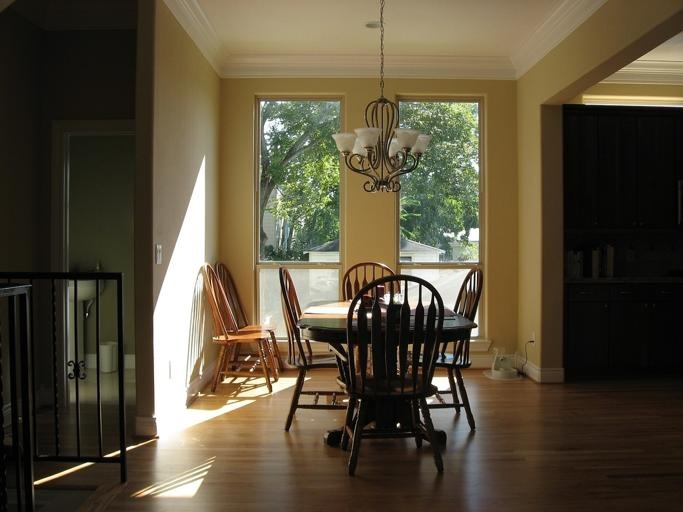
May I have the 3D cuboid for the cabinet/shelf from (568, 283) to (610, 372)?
[{"bbox_3d":[2.583,0.627,5.997,0.412,0.881,0.475,-2,12,15],"label":"cabinet/shelf"}]

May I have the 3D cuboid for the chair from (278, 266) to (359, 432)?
[{"bbox_3d":[-0.171,0.742,4.688,0.604,1.262,0.546,-1,-2,-3],"label":"chair"}]

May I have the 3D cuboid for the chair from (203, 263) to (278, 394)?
[{"bbox_3d":[-0.946,0.663,5.555,0.736,1.125,0.714,-3,4,-22],"label":"chair"}]

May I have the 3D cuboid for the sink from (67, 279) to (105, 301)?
[{"bbox_3d":[-2.689,0.365,6.008,0.313,0.130,0.275,-8,-10,30],"label":"sink"}]

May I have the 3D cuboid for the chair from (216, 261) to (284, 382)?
[{"bbox_3d":[-1.005,0.702,5.901,0.550,1.283,0.520,-1,10,0],"label":"chair"}]
